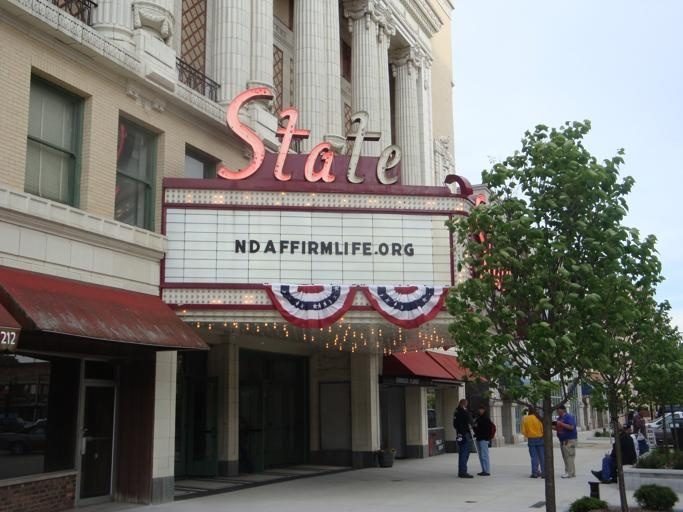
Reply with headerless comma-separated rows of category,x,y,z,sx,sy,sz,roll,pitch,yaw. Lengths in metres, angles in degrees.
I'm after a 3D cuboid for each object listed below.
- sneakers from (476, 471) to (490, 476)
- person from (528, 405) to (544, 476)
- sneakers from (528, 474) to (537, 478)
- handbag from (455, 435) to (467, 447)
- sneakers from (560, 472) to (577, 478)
sneakers,4.785,7.232,25.113,0.338,0.143,0.194,7,-14,1
person,6.287,6.129,24.281,0.484,2.012,1.398,-7,-15,12
sneakers,6.174,7.067,24.128,0.254,0.110,0.197,-14,-19,33
handbag,3.866,6.098,24.790,0.374,0.306,0.548,-8,-13,6
sneakers,7.194,6.907,23.745,0.516,0.230,0.179,5,-11,-3
